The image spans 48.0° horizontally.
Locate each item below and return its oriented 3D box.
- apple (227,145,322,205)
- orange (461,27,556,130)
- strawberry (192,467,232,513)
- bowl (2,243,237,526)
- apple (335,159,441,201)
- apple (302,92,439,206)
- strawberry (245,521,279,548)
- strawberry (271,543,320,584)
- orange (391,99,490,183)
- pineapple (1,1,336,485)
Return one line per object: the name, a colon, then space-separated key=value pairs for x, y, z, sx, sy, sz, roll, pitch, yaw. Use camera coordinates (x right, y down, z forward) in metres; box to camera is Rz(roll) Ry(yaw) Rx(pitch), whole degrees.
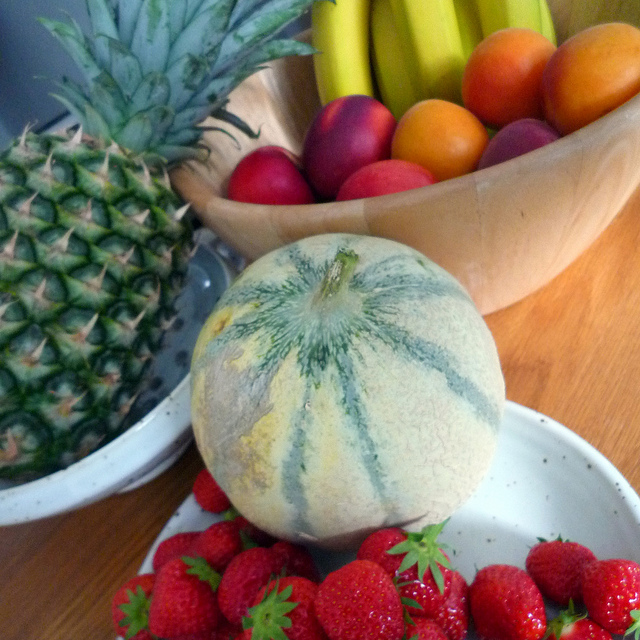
apple: x=-0.057 y=-0.166 z=0.850 sx=0.086 sy=0.057 sz=0.097 roll=24 pitch=30 yaw=1
orange: x=0.213 y=-0.299 z=0.888 sx=0.090 sy=0.101 sz=0.138 roll=8 pitch=31 yaw=21
strawberry: x=-0.112 y=0.176 z=0.765 sx=0.029 sy=0.054 sz=0.041 roll=-27 pitch=24 yaw=-14
bowl: x=-0.258 y=0.095 z=0.817 sx=0.282 sy=0.107 sz=0.284 roll=-41 pitch=18 yaw=16
apple: x=0.073 y=-0.154 z=0.772 sx=0.106 sy=0.044 sz=0.055 roll=-17 pitch=27 yaw=-34
apple: x=0.039 y=-0.210 z=0.916 sx=0.121 sy=0.159 sz=0.126 roll=12 pitch=-1 yaw=-37
strawberry: x=-0.059 y=0.213 z=0.714 sx=0.030 sy=0.024 sz=0.018 roll=29 pitch=84 yaw=-3
strawberry: x=-0.020 y=0.227 z=0.681 sx=0.024 sy=0.042 sz=0.032 roll=-58 pitch=35 yaw=3
orange: x=0.147 y=-0.217 z=0.897 sx=0.134 sy=0.098 sz=0.108 roll=9 pitch=28 yaw=19
pineapple: x=-0.204 y=-0.065 z=0.894 sx=0.346 sy=0.558 sz=0.322 roll=-3 pitch=32 yaw=-21
